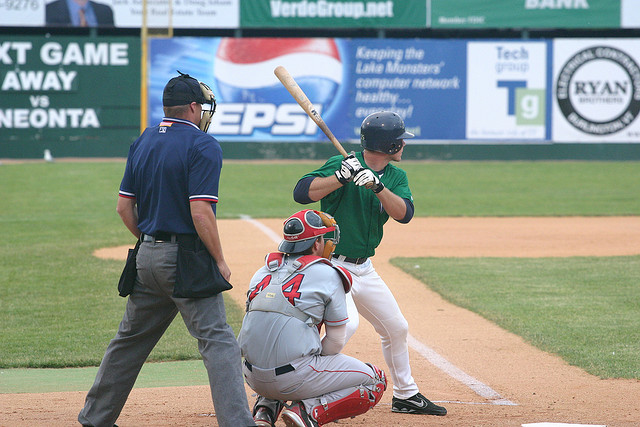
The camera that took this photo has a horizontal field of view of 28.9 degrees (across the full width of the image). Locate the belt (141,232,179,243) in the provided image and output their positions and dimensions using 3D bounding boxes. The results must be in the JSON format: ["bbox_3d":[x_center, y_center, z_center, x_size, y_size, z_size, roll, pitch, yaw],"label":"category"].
[{"bbox_3d":[-1.915,0.273,14.957,0.474,0.114,0.055,0,5,15],"label":"belt"}]
